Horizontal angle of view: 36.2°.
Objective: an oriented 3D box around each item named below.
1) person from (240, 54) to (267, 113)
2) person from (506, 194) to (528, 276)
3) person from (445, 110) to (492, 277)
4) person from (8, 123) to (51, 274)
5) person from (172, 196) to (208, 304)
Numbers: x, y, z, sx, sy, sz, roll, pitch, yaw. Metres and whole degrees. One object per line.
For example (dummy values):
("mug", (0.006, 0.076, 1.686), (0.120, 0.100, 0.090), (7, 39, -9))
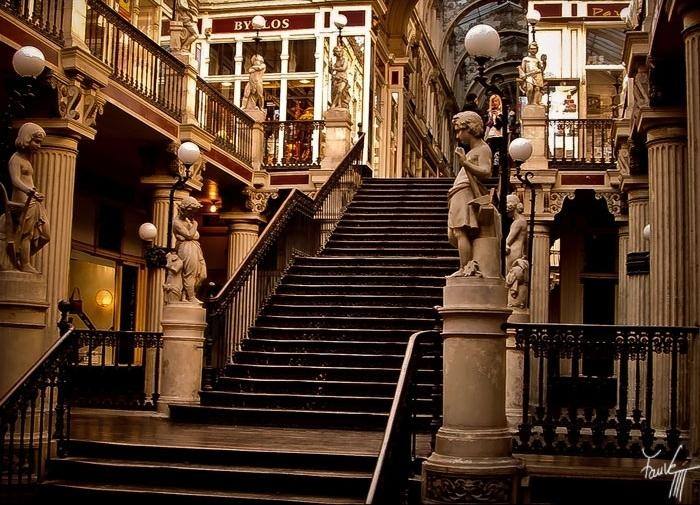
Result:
("person", (-2.124, -3.721, 23.684), (0.475, 1.203, 1.881), (3, -12, -6))
("person", (2.488, -0.329, 16.068), (0.286, 1.280, 0.873), (0, -12, 10))
("person", (1.373, -0.730, 12.343), (0.493, 2.055, 0.661), (1, -12, 7))
("person", (-3.870, -0.689, 12.874), (0.537, 1.864, 0.370), (7, -13, -21))
("person", (-2.344, -0.110, 15.547), (0.495, 1.584, 0.925), (4, -12, -8))
